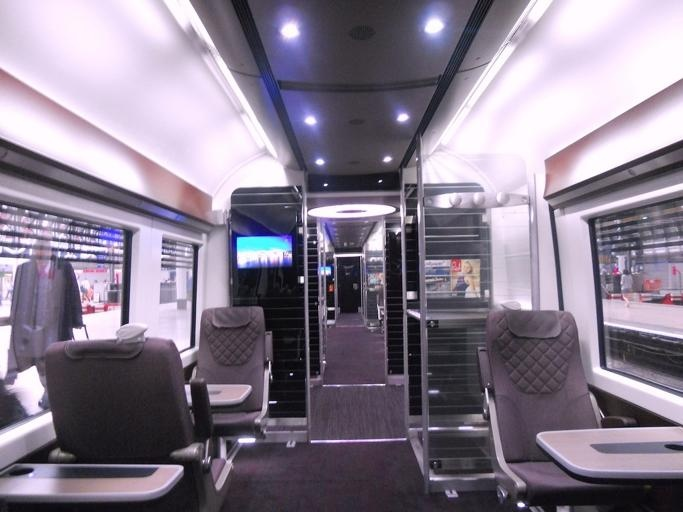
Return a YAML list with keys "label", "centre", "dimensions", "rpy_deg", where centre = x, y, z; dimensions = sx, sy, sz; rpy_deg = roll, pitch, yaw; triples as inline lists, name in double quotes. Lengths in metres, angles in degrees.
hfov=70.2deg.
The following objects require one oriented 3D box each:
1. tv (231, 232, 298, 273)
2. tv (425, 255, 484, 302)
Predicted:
- label: "tv"
  centre: [-0.903, -0.046, 5.689]
  dimensions: [0.673, 0.358, 0.088]
  rpy_deg: [1, 4, 6]
- label: "tv"
  centre: [1.046, 0.206, 4.538]
  dimensions: [0.517, 0.356, 0.087]
  rpy_deg: [0, 4, -8]
